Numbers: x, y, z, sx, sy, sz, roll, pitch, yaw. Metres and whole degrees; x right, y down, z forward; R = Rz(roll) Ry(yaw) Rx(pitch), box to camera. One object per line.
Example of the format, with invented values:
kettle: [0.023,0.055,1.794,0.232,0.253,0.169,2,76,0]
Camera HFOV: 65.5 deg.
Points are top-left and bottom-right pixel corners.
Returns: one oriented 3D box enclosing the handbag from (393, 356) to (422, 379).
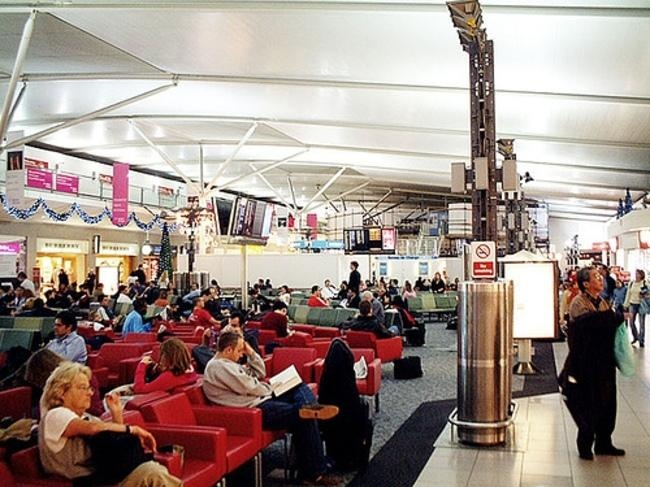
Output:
handbag: [1.599,2.393,10.033,0.694,0.455,0.367,0,-11,-11]

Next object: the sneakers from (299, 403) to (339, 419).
sneakers: [-0.046,1.694,5.138,0.476,0.150,0.189,-3,-2,22]

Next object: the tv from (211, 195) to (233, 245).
tv: [-4.523,-0.940,21.978,0.254,2.254,2.071,-5,-8,24]

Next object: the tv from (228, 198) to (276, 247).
tv: [-3.400,-1.103,23.097,0.445,1.792,3.556,9,1,20]
